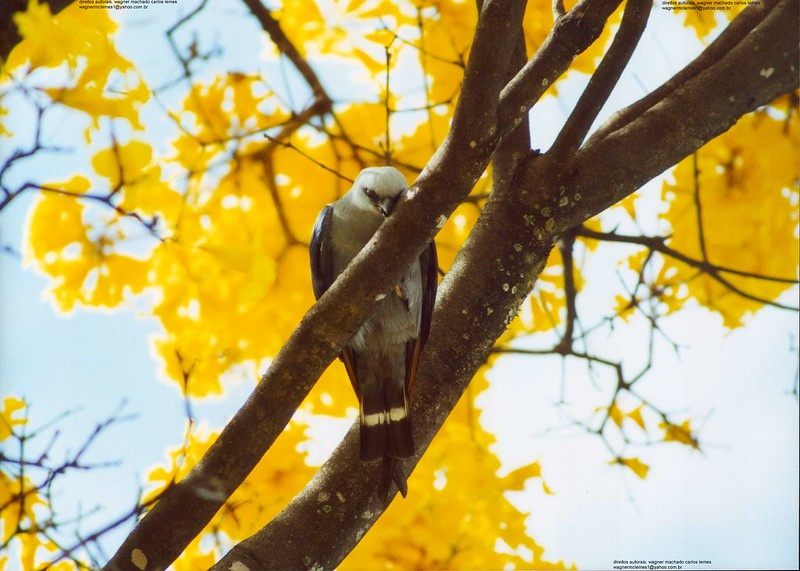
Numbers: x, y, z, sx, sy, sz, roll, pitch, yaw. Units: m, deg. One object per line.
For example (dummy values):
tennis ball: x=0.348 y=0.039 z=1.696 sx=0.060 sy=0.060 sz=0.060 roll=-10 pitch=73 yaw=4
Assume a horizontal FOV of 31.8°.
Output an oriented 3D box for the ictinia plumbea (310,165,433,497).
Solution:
ictinia plumbea: x=-0.098 y=0.162 z=5.563 sx=0.427 sy=0.520 sz=1.418 roll=0 pitch=-81 yaw=-1
